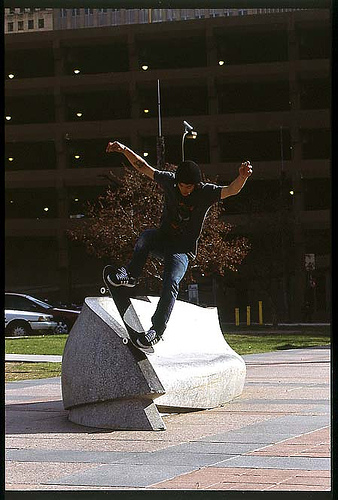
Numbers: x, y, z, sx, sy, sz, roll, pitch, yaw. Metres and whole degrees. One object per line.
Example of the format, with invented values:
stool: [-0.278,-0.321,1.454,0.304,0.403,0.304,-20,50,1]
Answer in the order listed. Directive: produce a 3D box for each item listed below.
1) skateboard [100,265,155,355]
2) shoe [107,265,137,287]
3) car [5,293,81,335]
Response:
skateboard: [-0.407,0.583,9.966,0.285,1.227,0.180,0,-33,-44]
shoe: [-0.451,0.259,9.912,0.155,0.190,0.466,2,2,20]
car: [-3.730,1.730,29.989,2.587,0.786,1.508,4,-3,9]
